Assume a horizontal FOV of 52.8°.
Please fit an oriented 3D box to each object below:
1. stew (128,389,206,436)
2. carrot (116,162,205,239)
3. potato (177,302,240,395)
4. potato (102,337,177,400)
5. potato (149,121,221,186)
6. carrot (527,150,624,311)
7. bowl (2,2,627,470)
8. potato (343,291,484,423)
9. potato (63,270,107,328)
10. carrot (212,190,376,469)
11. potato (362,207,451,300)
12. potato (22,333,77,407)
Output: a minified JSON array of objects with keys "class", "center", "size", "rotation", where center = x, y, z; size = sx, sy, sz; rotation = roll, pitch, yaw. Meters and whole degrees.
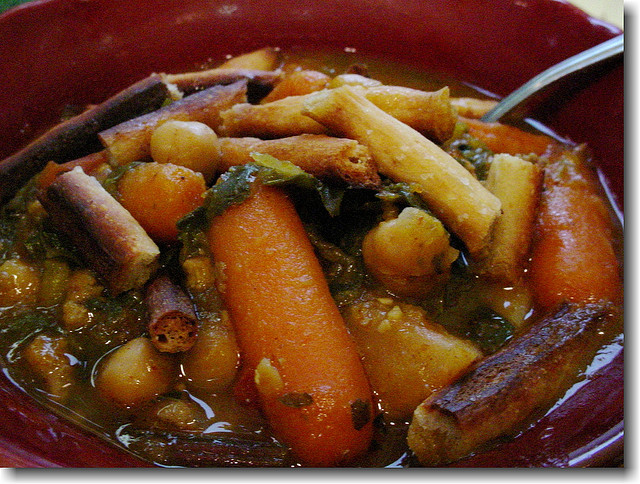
[{"class":"stew","center":[-0.267,0.303,1.129],"size":[0.120,0.024,0.083],"rotation":[4,27,0]},{"class":"carrot","center":[-0.260,-0.086,1.293],"size":[0.254,0.221,0.098],"rotation":[-1,85,-5]},{"class":"potato","center":[-0.215,0.200,1.159],"size":[0.126,0.076,0.140],"rotation":[-7,72,-9]},{"class":"potato","center":[-0.323,0.225,1.151],"size":[0.121,0.042,0.114],"rotation":[4,58,1]},{"class":"potato","center":[-0.266,-0.202,1.311],"size":[0.179,0.100,0.118],"rotation":[2,25,-7]},{"class":"carrot","center":[0.488,-0.009,1.327],"size":[0.246,0.098,0.256],"rotation":[-4,65,4]},{"class":"bowl","center":[-0.050,0.009,1.676],"size":[1.702,0.267,1.017],"rotation":[0,49,-2]},{"class":"potato","center":[0.153,0.204,1.214],"size":[0.271,0.070,0.246],"rotation":[40,83,17]},{"class":"potato","center":[-0.436,0.105,1.210],"size":[0.077,0.045,0.113],"rotation":[4,58,1]},{"class":"carrot","center":[-0.056,0.166,1.221],"size":[0.245,0.180,0.501],"rotation":[-26,74,-10]},{"class":"potato","center":[0.175,0.014,1.285],"size":[0.323,0.149,0.214],"rotation":[0,16,3]},{"class":"potato","center":[-0.480,0.232,1.171],"size":[0.070,0.033,0.140],"rotation":[-13,58,-9]}]
